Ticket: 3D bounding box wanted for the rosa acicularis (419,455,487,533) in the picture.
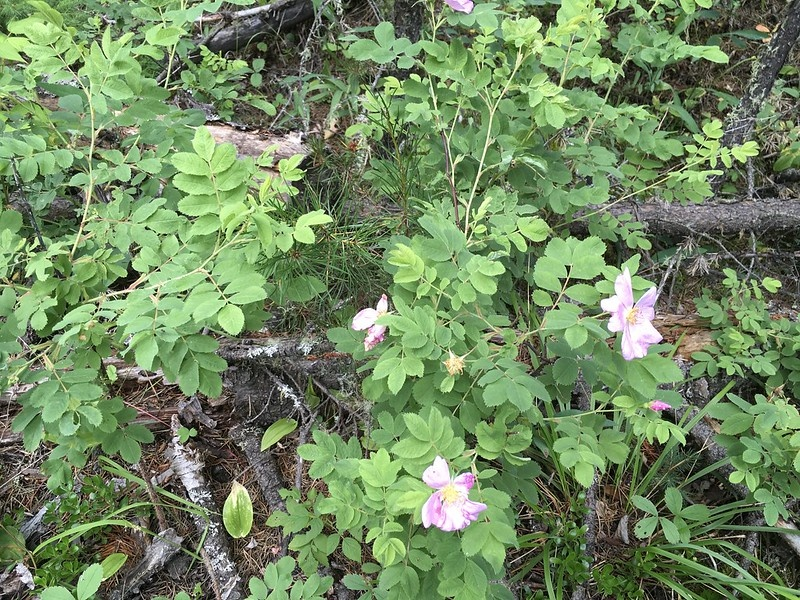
[{"bbox_3d":[0.204,0.817,2.514,0.278,0.237,0.258,-16,51,-21],"label":"rosa acicularis"}]
